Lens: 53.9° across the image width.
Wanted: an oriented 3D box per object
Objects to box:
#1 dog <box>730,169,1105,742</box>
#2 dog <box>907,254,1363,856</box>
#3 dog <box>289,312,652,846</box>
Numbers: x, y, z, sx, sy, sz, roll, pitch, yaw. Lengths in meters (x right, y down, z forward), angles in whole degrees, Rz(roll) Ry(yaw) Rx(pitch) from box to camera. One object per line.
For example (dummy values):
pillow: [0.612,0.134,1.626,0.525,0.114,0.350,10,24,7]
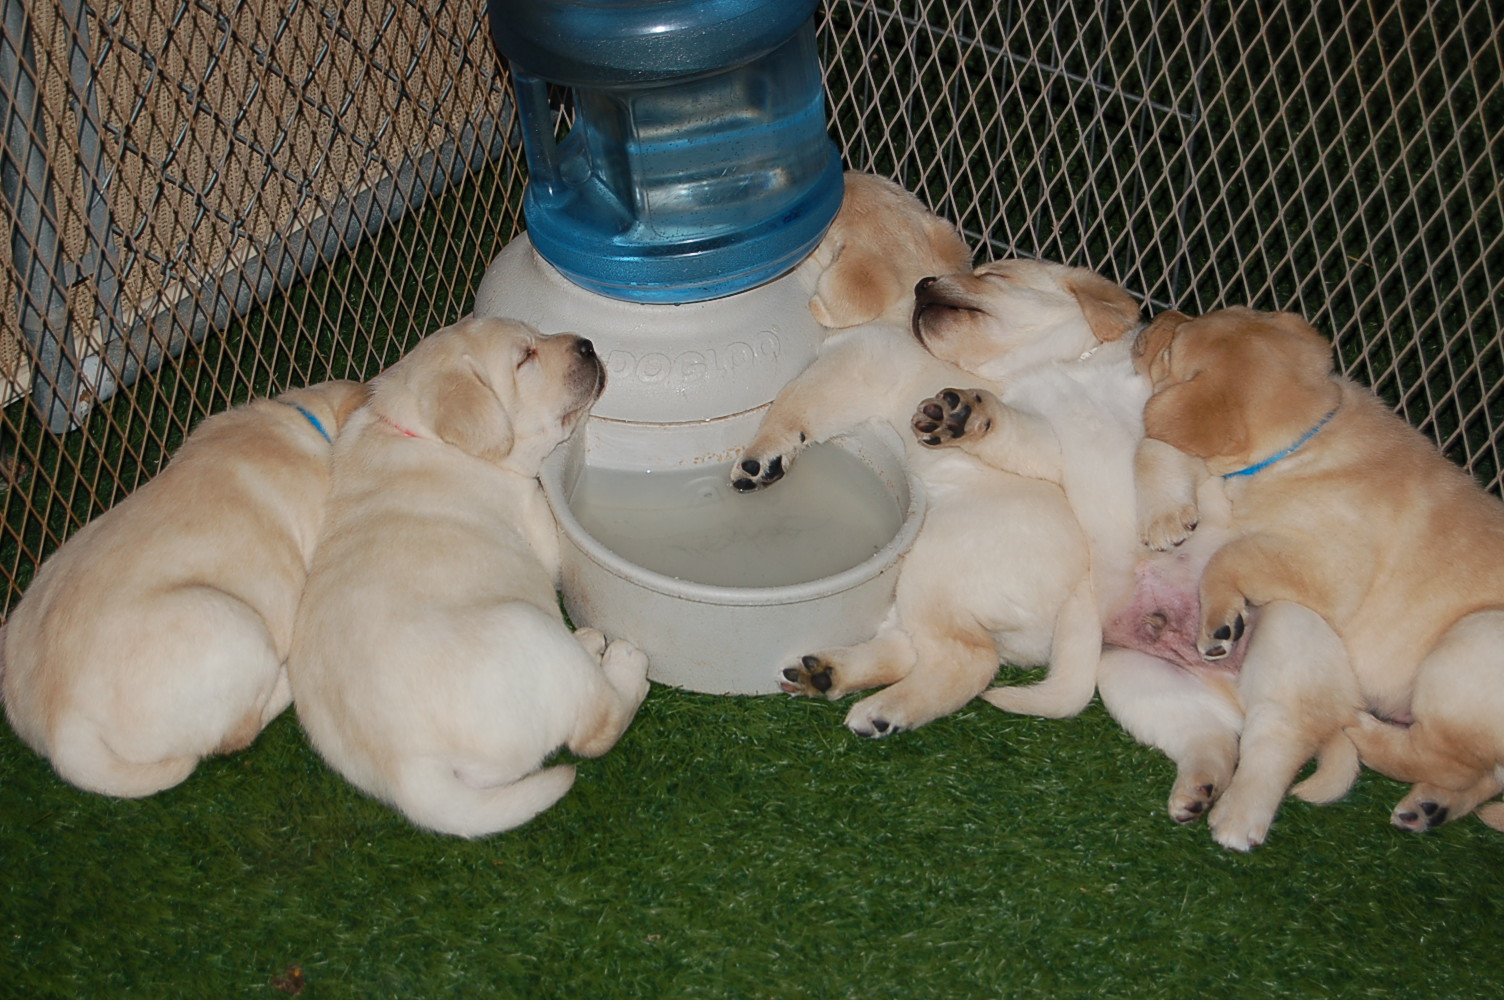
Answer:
dog: [0.445,-0.091,4.259,0.656,0.655,1.811,-1,69,-37]
dog: [1.002,0.073,4.041,1.525,0.508,1.170,60,37,-4]
dog: [-0.810,0.181,4.070,0.936,0.673,1.589,-5,47,-5]
